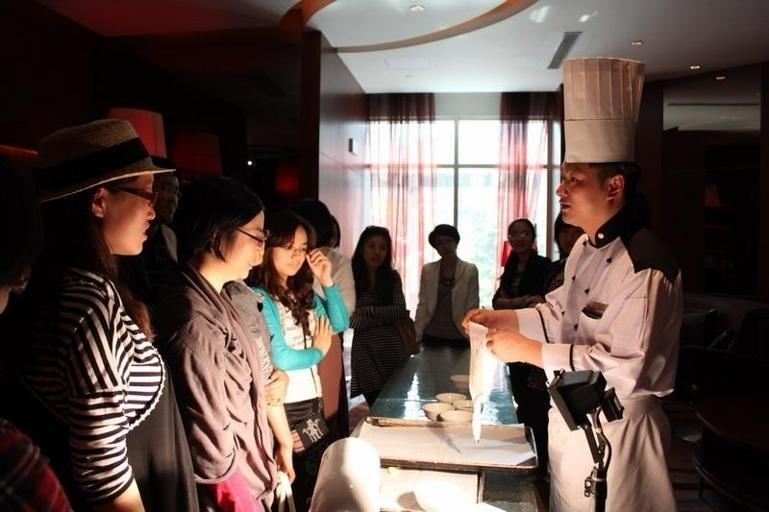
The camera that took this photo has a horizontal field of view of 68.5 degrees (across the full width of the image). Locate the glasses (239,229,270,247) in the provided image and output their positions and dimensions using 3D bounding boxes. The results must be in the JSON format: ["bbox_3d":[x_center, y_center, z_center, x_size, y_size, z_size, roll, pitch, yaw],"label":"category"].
[{"bbox_3d":[-0.550,-0.081,2.389,0.069,0.022,0.068,26,2,6],"label":"glasses"}]

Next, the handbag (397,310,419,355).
[{"bbox_3d":[0.178,0.598,4.337,0.130,0.342,0.261,-18,4,9],"label":"handbag"}]

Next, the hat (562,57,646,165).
[{"bbox_3d":[0.976,-0.650,2.754,0.469,0.492,0.411,1,-4,-2],"label":"hat"}]

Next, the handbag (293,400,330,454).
[{"bbox_3d":[-0.398,0.893,2.977,0.231,0.246,0.092,-21,4,-37],"label":"handbag"}]

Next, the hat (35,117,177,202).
[{"bbox_3d":[-1.025,-0.341,2.072,0.369,0.150,0.307,-17,5,-19],"label":"hat"}]
